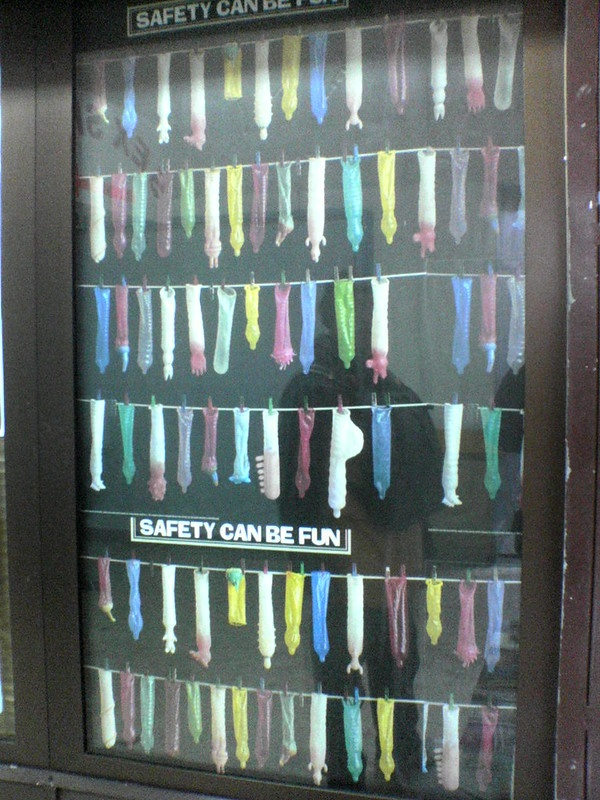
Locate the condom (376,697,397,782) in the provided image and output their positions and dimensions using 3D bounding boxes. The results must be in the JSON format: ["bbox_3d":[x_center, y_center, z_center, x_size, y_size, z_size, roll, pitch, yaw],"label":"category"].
[{"bbox_3d":[0.208,0.810,3.495,0.043,0.190,0.006,0,0,5],"label":"condom"}]

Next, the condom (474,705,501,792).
[{"bbox_3d":[0.445,0.822,3.452,0.033,0.235,0.039,3,-1,8],"label":"condom"}]

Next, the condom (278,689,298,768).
[{"bbox_3d":[-0.029,0.795,3.551,0.037,0.204,0.036,7,24,20],"label":"condom"}]
